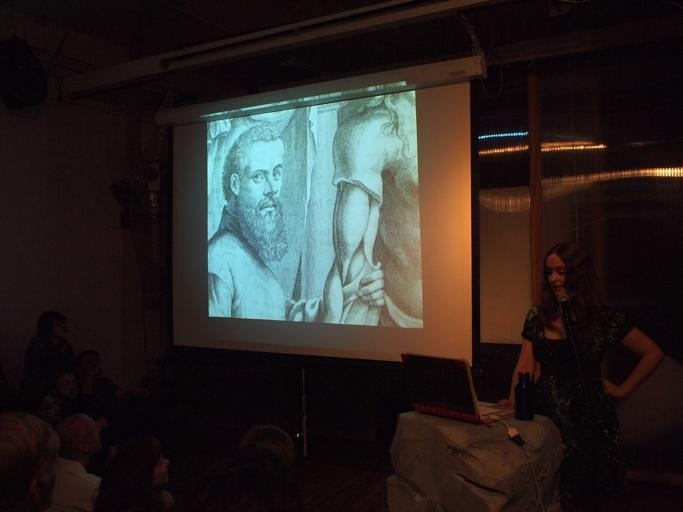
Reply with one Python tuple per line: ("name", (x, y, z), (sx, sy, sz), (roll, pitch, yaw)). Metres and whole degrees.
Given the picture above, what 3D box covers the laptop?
("laptop", (0.683, 0.729, 3.591), (0.418, 0.307, 0.454), (5, -9, -36))
